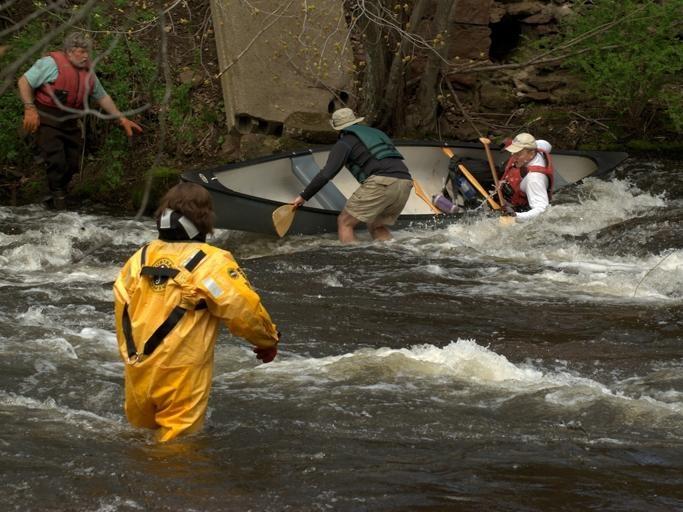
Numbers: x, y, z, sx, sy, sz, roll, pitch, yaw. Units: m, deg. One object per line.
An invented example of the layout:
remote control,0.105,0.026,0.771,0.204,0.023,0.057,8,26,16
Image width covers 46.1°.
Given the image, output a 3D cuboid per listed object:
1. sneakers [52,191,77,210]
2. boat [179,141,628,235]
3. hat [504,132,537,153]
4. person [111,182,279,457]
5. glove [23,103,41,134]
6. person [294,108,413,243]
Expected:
sneakers,-3.881,-0.777,11.257,0.202,0.153,0.645,35,-11,-36
boat,0.062,-0.979,10.414,7.100,1.431,0.656,-4,-42,-16
hat,2.157,-1.354,9.640,0.341,0.246,0.288,5,6,8
person,-0.930,0.361,5.108,1.080,1.666,0.350,6,8,-2
glove,-3.868,-1.735,10.052,0.163,0.323,0.301,4,6,-17
person,0.202,-0.935,9.327,1.262,1.588,0.584,4,8,-9
